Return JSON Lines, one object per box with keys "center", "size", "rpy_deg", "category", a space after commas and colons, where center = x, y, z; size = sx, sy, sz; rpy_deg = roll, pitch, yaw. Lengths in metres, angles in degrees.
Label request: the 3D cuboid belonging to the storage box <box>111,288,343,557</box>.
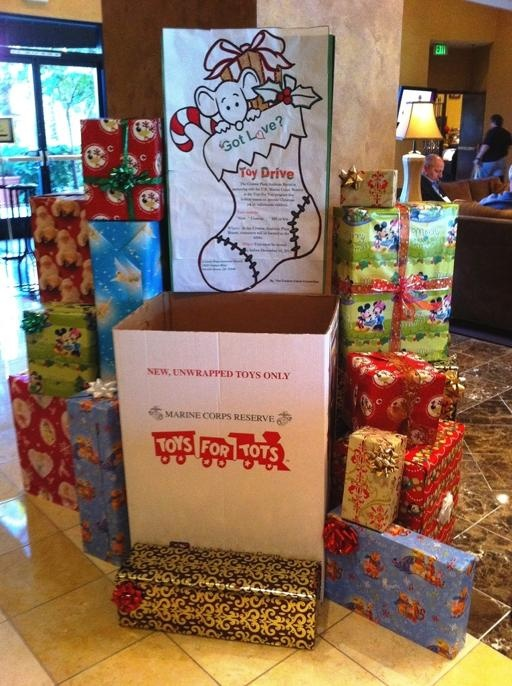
{"center": [-0.104, 0.181, 1.627], "size": [0.548, 0.677, 0.407], "rpy_deg": [5, 28, 3], "category": "storage box"}
